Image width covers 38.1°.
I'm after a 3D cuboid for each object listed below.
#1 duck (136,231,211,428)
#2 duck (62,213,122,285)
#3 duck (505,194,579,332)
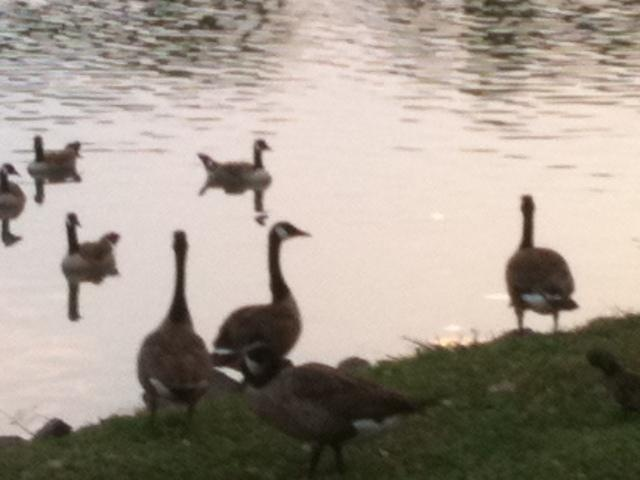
[{"bbox_3d":[-1.191,0.827,7.424,0.552,1.211,0.675,-3,18,-20],"label":"duck"},{"bbox_3d":[-1.898,0.089,8.080,0.701,0.639,0.459,-2,7,-7],"label":"duck"},{"bbox_3d":[1.829,0.216,7.796,0.428,1.100,0.717,-5,19,-26],"label":"duck"}]
